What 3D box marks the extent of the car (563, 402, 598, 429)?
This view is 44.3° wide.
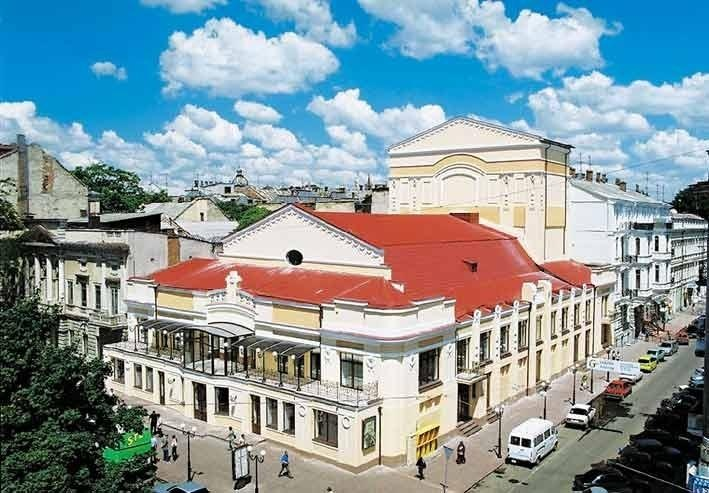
[{"bbox_3d":[22.619,16.508,85.359,1.693,1.137,3.280,2,0,29],"label":"car"}]

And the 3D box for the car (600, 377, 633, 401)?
[{"bbox_3d":[28.043,15.303,92.294,1.718,1.747,3.477,1,2,37],"label":"car"}]

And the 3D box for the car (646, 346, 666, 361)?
[{"bbox_3d":[36.422,12.900,105.196,1.361,1.301,3.629,8,9,38],"label":"car"}]

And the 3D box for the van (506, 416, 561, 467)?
[{"bbox_3d":[16.078,17.732,78.531,4.556,3.478,2.082,-2,3,-43],"label":"van"}]
